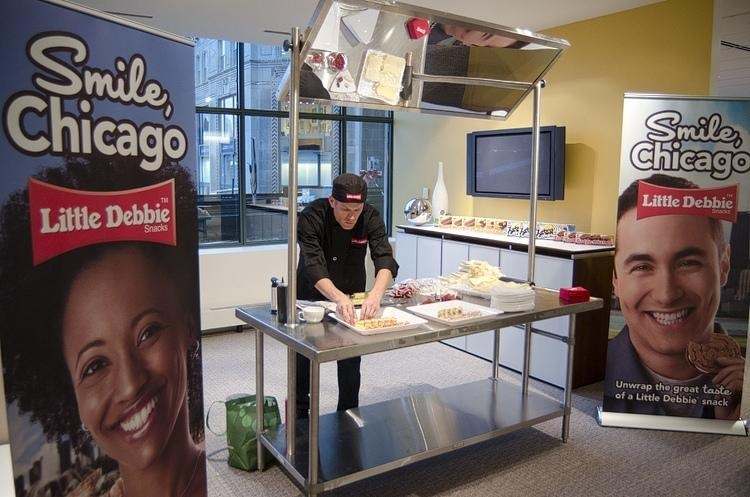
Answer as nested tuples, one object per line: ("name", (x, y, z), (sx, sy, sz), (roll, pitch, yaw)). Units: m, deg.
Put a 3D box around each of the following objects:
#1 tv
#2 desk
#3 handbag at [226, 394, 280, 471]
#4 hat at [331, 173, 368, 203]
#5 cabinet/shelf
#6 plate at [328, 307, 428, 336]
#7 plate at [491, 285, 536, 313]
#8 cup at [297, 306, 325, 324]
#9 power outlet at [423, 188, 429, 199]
("tv", (1.426, -0.850, 5.484), (0.110, 0.585, 0.933), (-5, 9, -37))
("desk", (0.259, 0.931, 3.729), (2.098, 1.166, 0.810), (-6, 14, -26))
("handbag", (-0.895, 1.264, 3.865), (0.392, 0.461, 0.480), (1, 3, -34))
("hat", (-0.177, -0.388, 3.579), (0.211, 0.181, 0.166), (3, 13, 10))
("cabinet/shelf", (1.166, 0.523, 4.588), (0.378, 0.724, 1.433), (-3, 10, -32))
("plate", (0.023, 0.415, 3.361), (0.539, 0.077, 0.381), (-5, 14, -23))
("plate", (0.894, 0.332, 3.604), (0.227, 0.095, 0.175), (-3, 6, -30))
("cup", (-0.395, 0.388, 3.373), (0.155, 0.098, 0.190), (-1, 13, -4))
("power outlet", (0.630, -0.682, 6.838), (0.081, 0.125, 0.219), (2, 13, 8))
